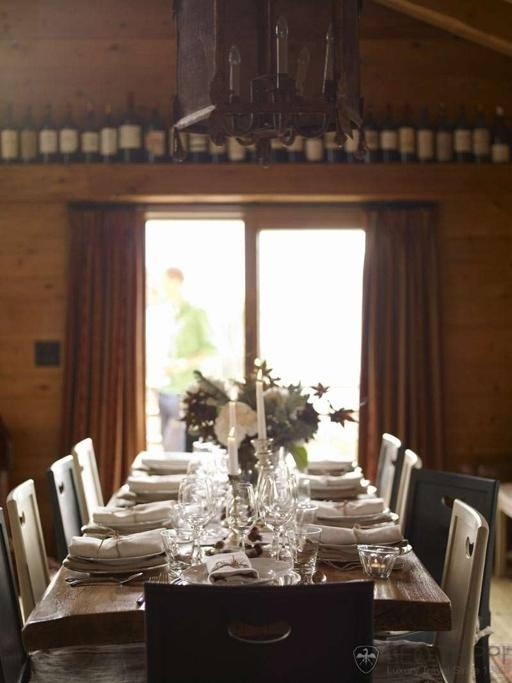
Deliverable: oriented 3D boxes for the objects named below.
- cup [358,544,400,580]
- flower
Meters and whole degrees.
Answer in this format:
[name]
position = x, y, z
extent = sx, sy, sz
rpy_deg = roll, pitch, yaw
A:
[cup]
position = 0.295, 0.536, 1.772
extent = 0.067, 0.059, 0.076
rpy_deg = 3, -9, -3
[flower]
position = -0.009, 0.200, 2.408
extent = 0.378, 0.409, 0.420
rpy_deg = 2, 7, -6
